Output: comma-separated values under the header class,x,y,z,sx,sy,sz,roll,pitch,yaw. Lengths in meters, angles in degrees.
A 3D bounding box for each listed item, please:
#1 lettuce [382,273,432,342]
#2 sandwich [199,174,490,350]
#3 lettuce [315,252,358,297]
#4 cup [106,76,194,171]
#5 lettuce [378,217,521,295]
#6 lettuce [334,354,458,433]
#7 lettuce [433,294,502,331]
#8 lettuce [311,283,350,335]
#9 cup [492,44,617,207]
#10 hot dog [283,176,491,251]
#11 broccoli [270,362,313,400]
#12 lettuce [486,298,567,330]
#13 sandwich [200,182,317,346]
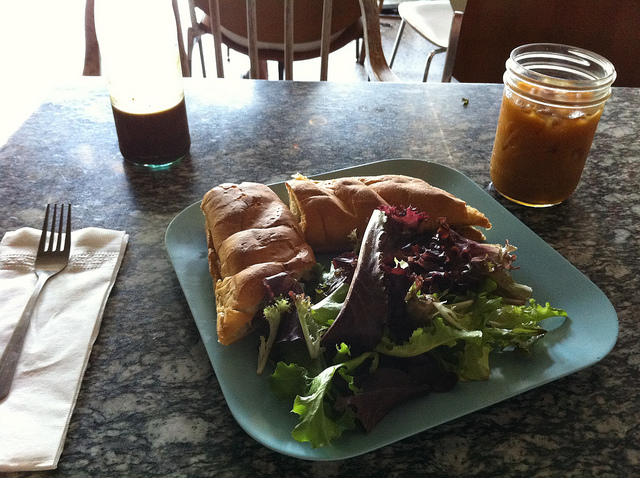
class,x,y,z,sx,sy,sz,roll,pitch,yaw
lettuce,0.129,0.098,0.732,0.104,0.085,0.028,0,9,-10
sandwich,0.018,-0.018,0.907,0.495,0.105,0.315,-19,37,-13
lettuce,0.034,0.055,0.800,0.019,0.055,0.079,43,86,13
cup,-0.373,-0.265,1.116,0.159,0.155,0.154,0,26,0
lettuce,0.208,0.037,0.794,0.209,0.081,0.124,-4,16,14
lettuce,0.103,0.192,0.689,0.126,0.119,0.041,-20,86,-50
lettuce,0.228,0.111,0.749,0.072,0.021,0.060,3,20,-19
lettuce,0.013,0.104,0.747,0.023,0.052,0.058,33,52,-1
cup,0.465,-0.223,1.017,0.219,0.265,0.184,9,40,14
hot dog,0.116,-0.078,0.995,0.340,0.088,0.244,-3,17,-1
broccoli,-0.044,0.199,0.692,0.050,0.049,0.034,1,41,0
lettuce,0.312,0.116,0.766,0.160,0.045,0.039,1,82,-8
sandwich,-0.100,0.005,0.890,0.207,0.097,0.324,-17,42,-8
